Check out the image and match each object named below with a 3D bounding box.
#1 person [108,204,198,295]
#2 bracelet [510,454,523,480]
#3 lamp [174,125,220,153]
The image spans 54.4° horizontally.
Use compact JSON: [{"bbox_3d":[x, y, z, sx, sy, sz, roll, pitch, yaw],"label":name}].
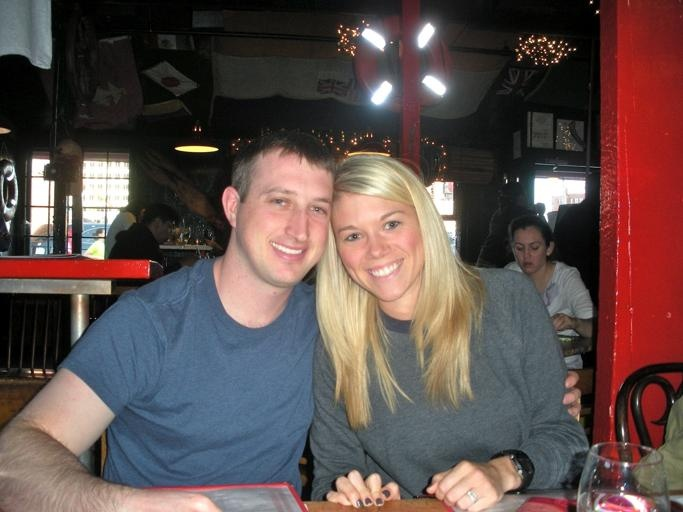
[{"bbox_3d":[-2.144,0.030,7.723,0.709,1.240,0.837,0,-19,-18],"label":"person"},{"bbox_3d":[0.812,0.968,3.058,0.024,0.079,0.059,-37,-25,27],"label":"bracelet"},{"bbox_3d":[-2.014,-1.682,9.422,0.621,0.398,0.619,0,-3,-3],"label":"lamp"}]
